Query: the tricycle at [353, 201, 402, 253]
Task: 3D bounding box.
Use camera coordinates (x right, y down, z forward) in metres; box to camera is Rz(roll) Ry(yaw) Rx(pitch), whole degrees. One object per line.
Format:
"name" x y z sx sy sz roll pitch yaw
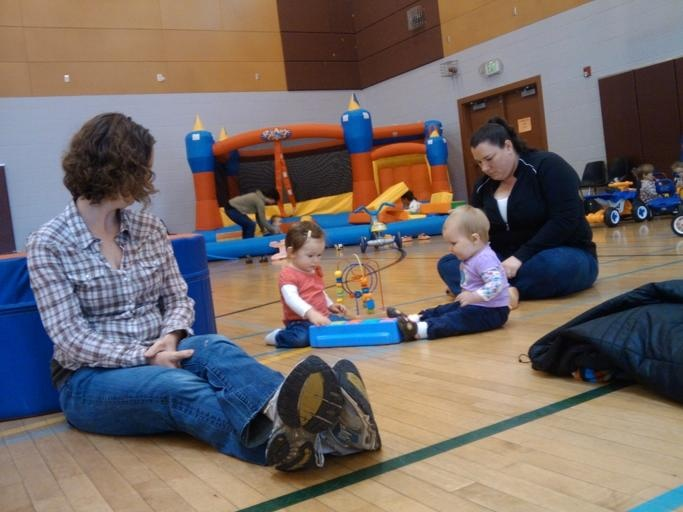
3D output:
"tricycle" 0.497 -0.463 7.498 0.580 0.599 0.980 -11 15 0

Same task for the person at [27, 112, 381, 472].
"person" -0.516 0.064 1.557 1.047 0.806 0.453 -2 9 41

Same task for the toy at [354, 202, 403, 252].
"toy" 0.507 -0.404 7.371 0.527 0.537 0.903 -4 -1 -5

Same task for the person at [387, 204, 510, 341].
"person" 0.404 0.086 2.654 0.739 0.698 0.486 -1 4 4

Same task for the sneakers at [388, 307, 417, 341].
"sneakers" 0.297 0.332 2.457 0.081 0.180 0.061 -29 27 13

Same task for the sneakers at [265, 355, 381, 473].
"sneakers" -0.055 0.398 1.341 0.281 0.341 0.195 -8 7 2

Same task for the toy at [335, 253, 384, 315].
"toy" 0.135 0.200 3.686 0.359 0.439 0.271 3 15 42
